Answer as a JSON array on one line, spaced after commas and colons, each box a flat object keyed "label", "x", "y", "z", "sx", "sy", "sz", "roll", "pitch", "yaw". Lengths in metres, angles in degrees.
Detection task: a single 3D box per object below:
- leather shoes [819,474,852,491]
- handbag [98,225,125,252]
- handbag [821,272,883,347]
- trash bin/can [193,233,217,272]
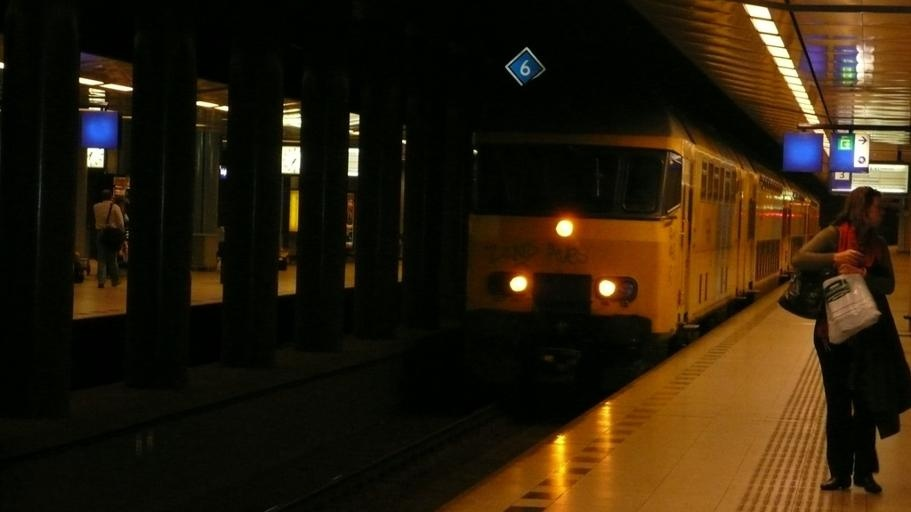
[{"label": "leather shoes", "x": 3.694, "y": 2.195, "z": 6.918, "sx": 0.345, "sy": 0.129, "sz": 0.117, "roll": 2, "pitch": -2, "yaw": -1}, {"label": "handbag", "x": -8.051, "y": -0.416, "z": 16.573, "sx": 0.365, "sy": 0.419, "sz": 0.658, "roll": 6, "pitch": 2, "yaw": 24}, {"label": "handbag", "x": 3.854, "y": 0.484, "z": 6.778, "sx": 0.481, "sy": 0.651, "sz": 0.353, "roll": -27, "pitch": -54, "yaw": 38}, {"label": "trash bin/can", "x": -7.987, "y": -0.126, "z": 22.689, "sx": 0.841, "sy": 1.153, "sz": 0.468, "roll": -4, "pitch": 9, "yaw": -23}]
